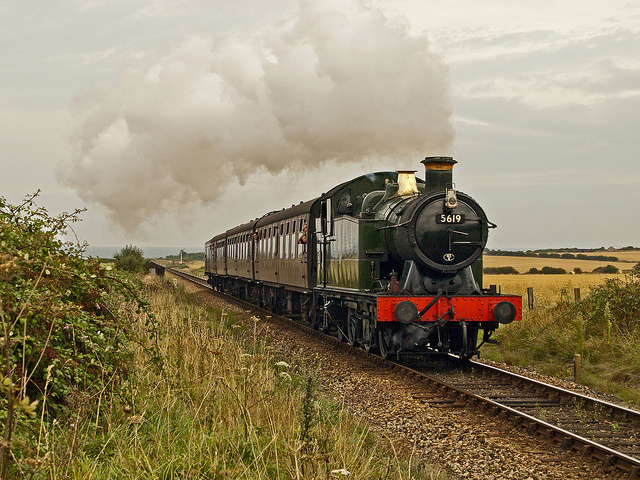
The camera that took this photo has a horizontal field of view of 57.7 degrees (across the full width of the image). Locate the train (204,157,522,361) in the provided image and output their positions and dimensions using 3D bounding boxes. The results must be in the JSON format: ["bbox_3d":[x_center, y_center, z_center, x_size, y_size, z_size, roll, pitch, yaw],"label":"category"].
[{"bbox_3d":[-0.373,0.483,19.940,2.751,4.267,19.159,5,-3,-18],"label":"train"}]
